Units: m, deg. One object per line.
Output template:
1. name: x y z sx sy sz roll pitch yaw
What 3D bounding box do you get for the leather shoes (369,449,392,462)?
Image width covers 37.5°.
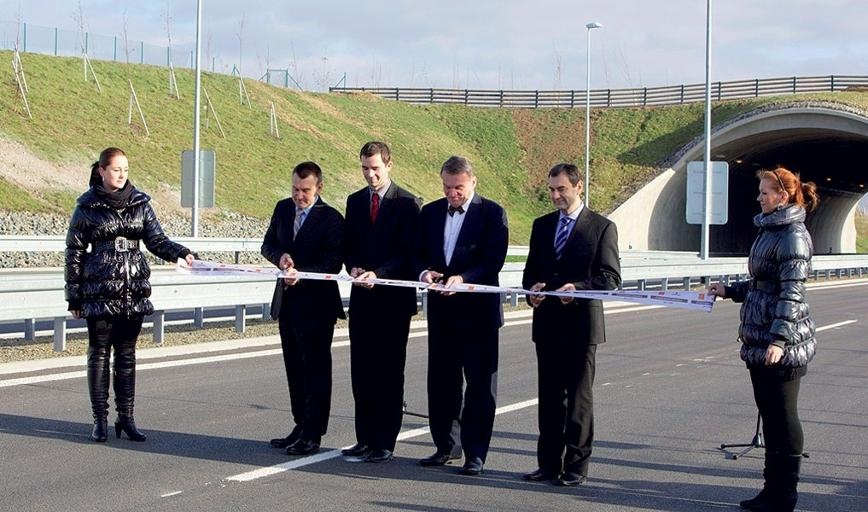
1. leather shoes: -1.294 4.682 30.104 0.517 0.196 0.264 6 5 -7

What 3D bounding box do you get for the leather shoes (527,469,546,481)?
1. leather shoes: 2.435 5.095 29.777 0.518 0.200 0.211 3 -7 -6

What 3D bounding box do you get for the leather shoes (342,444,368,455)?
1. leather shoes: -1.871 4.576 30.329 0.720 0.274 0.232 2 -5 3

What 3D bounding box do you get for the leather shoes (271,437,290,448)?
1. leather shoes: -3.652 4.428 30.372 0.499 0.198 0.199 -5 -6 42
